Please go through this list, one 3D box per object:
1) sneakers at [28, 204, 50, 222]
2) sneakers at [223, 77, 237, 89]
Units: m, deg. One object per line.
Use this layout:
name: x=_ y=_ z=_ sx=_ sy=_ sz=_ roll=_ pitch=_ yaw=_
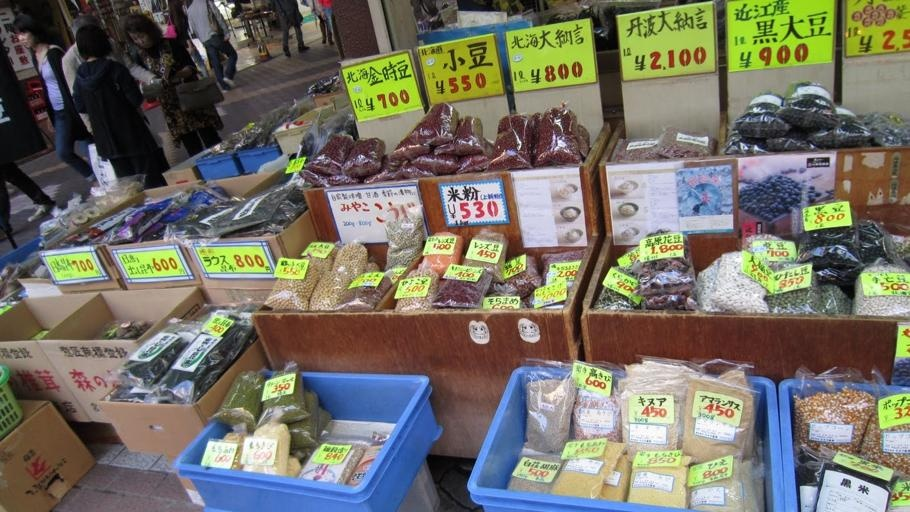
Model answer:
sneakers: x=-5.385 y=-0.555 z=6.943 sx=0.170 sy=0.177 sz=0.473 roll=0 pitch=-7 yaw=-16
sneakers: x=-4.216 y=-3.273 z=10.065 sx=0.184 sy=0.219 sz=0.305 roll=-50 pitch=27 yaw=1
